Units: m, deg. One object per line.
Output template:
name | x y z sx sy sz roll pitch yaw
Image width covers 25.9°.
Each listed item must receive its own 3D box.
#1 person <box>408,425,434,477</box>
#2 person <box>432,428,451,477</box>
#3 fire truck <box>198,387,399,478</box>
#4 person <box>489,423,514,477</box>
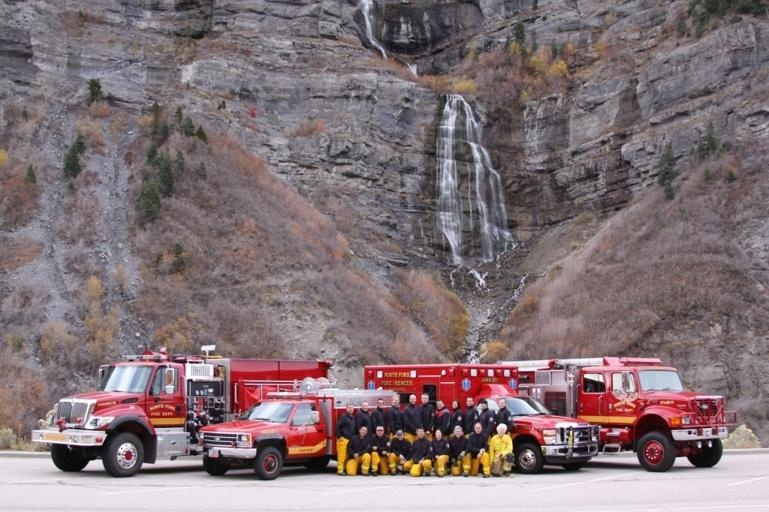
person | 2.558 13.029 110.233 1.506 3.106 0.829 -1 -13 2
person | 3.832 13.066 110.158 1.048 3.009 0.668 -1 -13 1
fire truck | -5.247 11.715 111.201 11.293 4.564 5.758 9 -13 -43
person | 7.803 12.771 109.757 1.528 3.405 1.048 0 -13 -1
